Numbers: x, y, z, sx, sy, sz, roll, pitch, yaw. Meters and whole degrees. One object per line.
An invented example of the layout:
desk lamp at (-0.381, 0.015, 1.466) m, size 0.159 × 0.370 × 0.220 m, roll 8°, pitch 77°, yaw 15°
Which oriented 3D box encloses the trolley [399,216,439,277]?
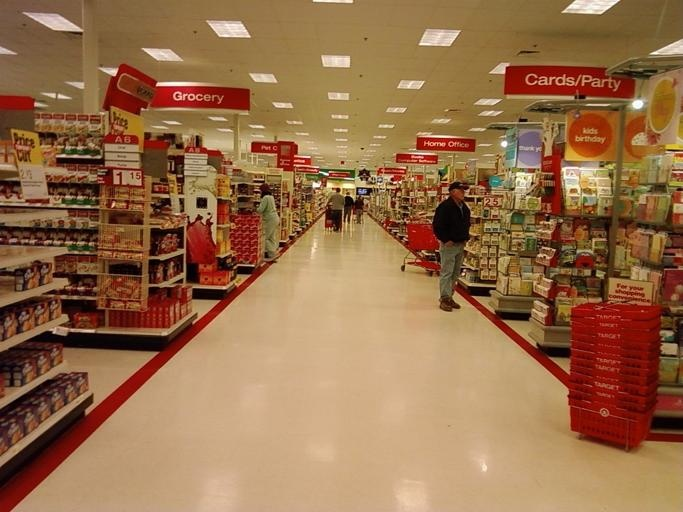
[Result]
trolley at (1.806, -0.254, 11.454) m, size 1.199 × 1.456 × 1.250 m, roll 1°, pitch 8°, yaw 2°
